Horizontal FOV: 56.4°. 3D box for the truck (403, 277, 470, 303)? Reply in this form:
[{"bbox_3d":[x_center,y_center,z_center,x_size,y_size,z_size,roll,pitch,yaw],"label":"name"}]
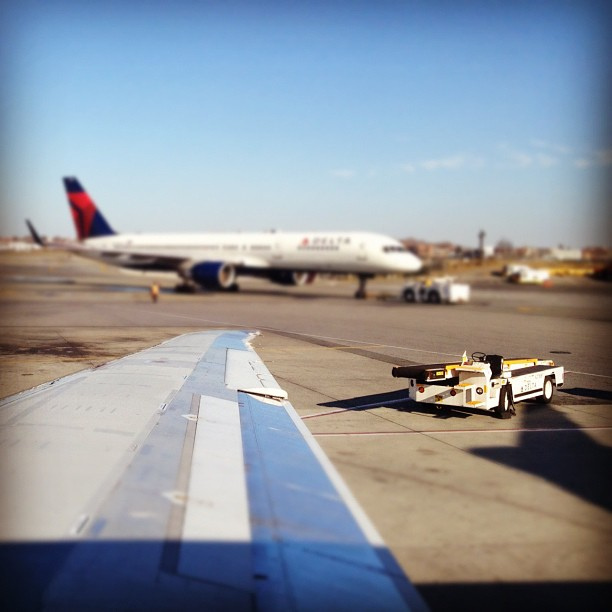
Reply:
[{"bbox_3d":[7.272,-0.928,32.860,2.944,1.025,1.768,3,5,38],"label":"truck"}]

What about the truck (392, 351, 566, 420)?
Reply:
[{"bbox_3d":[3.415,1.321,10.310,3.411,0.732,1.315,2,-4,-40],"label":"truck"}]

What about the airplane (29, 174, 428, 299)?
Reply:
[{"bbox_3d":[-8.868,-5.238,38.003,31.769,8.844,11.185,3,5,24],"label":"airplane"}]

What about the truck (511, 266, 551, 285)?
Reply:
[{"bbox_3d":[18.447,-2.495,46.831,1.907,1.337,3.160,0,5,-14],"label":"truck"}]
